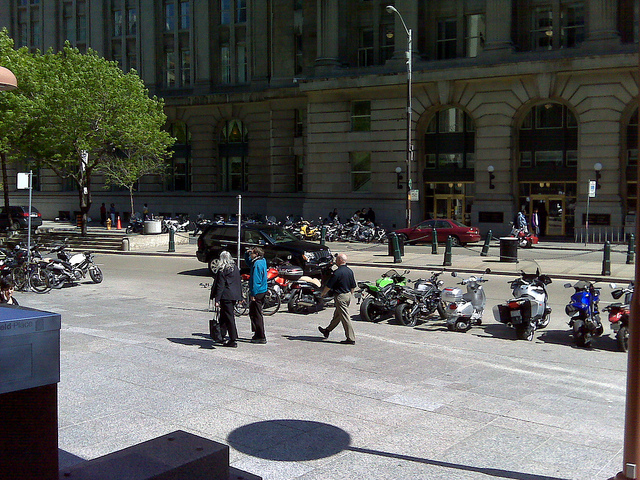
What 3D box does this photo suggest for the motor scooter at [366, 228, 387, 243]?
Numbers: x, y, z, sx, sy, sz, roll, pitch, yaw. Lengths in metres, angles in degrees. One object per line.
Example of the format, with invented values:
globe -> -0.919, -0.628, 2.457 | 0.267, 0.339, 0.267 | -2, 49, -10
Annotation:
motor scooter -> 3.203, -0.197, 36.880 | 0.933, 0.744, 1.475 | -1, 6, -16

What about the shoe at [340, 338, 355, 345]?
shoe -> 0.588, 2.192, 14.454 | 0.319, 0.123, 0.105 | 6, 10, 23

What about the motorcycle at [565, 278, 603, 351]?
motorcycle -> 5.928, 1.489, 15.078 | 0.768, 1.172, 2.299 | 4, 4, 23

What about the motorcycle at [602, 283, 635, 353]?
motorcycle -> 6.283, 1.627, 14.048 | 0.498, 1.402, 2.299 | 4, 7, 23

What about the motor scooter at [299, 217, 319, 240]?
motor scooter -> -0.668, -0.528, 37.908 | 0.774, 0.791, 1.256 | 0, -5, 42

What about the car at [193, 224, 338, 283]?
car -> -2.100, 0.511, 23.439 | 4.761, 1.657, 2.084 | 0, 5, 24

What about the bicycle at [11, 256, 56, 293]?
bicycle -> -9.227, 1.141, 21.607 | 1.831, 1.009, 0.926 | 3, 1, 24

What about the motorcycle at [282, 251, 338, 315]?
motorcycle -> -0.167, 1.182, 18.600 | 1.295, 1.490, 2.482 | 6, 8, 32

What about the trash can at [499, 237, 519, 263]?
trash can -> 7.929, 0.414, 27.575 | 1.092, 0.936, 0.963 | -2, 3, 10

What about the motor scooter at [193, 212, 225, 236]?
motor scooter -> -7.740, -0.913, 43.602 | 2.791, 1.550, 1.351 | -1, 4, 0

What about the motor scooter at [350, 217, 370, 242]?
motor scooter -> 2.187, -0.414, 37.768 | 0.933, 0.969, 1.441 | -2, 7, -26

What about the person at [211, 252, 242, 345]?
person -> -1.955, 1.212, 13.922 | 0.604, 1.876, 0.570 | 1, 7, -2

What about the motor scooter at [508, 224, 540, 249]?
motor scooter -> 10.398, -0.136, 33.963 | 1.136, 1.083, 1.622 | -4, 13, -21

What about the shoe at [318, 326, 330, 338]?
shoe -> 0.098, 2.061, 14.917 | 0.095, 0.184, 0.266 | -35, 66, -29

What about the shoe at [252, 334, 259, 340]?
shoe -> -1.373, 2.060, 14.251 | 0.138, 0.027, 0.128 | -2, 24, -2

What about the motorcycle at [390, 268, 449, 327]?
motorcycle -> 2.524, 1.448, 16.719 | 0.786, 1.169, 2.177 | -7, 1, 44

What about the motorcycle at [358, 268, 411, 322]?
motorcycle -> 1.741, 1.418, 17.315 | 0.964, 1.100, 2.182 | -5, 2, 42

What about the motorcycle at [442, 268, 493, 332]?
motorcycle -> 3.679, 1.458, 16.322 | 0.910, 1.420, 2.217 | 4, 5, 35

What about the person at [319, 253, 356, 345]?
person -> 0.413, 1.273, 14.516 | 0.812, 1.913, 0.808 | 1, 7, -3

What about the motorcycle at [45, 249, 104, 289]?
motorcycle -> -8.217, 0.946, 22.332 | 0.890, 1.135, 2.346 | -12, -3, 32

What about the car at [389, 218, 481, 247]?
car -> 6.156, -0.403, 34.477 | 3.801, 1.146, 1.858 | 4, 5, 17

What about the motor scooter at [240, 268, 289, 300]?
motor scooter -> -1.490, 1.342, 18.399 | 1.374, 0.771, 0.741 | -3, 16, -6

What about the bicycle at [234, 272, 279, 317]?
bicycle -> -1.667, 1.578, 17.832 | 1.544, 0.855, 0.754 | 1, 8, 4

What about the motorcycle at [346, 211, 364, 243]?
motorcycle -> 2.085, -0.820, 39.531 | 0.749, 1.450, 4.607 | 1, 6, 4

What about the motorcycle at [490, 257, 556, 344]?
motorcycle -> 5.003, 1.385, 16.042 | 1.060, 1.633, 3.082 | -10, 1, 30
